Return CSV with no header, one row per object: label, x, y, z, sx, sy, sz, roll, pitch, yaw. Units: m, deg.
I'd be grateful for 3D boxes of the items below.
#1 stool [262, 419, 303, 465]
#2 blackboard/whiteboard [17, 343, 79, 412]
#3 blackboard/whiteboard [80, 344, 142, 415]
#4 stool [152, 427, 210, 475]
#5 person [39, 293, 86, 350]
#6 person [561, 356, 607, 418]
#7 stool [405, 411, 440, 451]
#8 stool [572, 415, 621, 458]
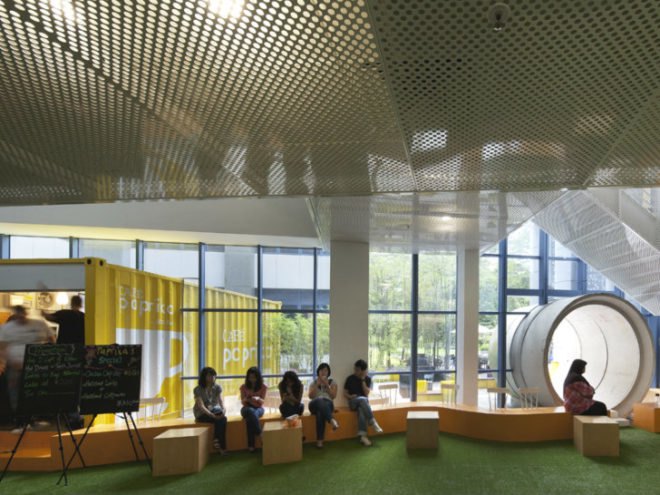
stool,-0.630,2.566,7.546,0.489,0.382,0.481,1,-2,-14
blackboard/whiteboard,-3.454,1.635,7.019,0.776,1.058,0.080,2,-17,-11
blackboard/whiteboard,-2.825,1.699,7.253,0.878,1.064,0.051,0,-13,-11
stool,-1.902,2.699,7.424,0.842,0.394,0.863,-17,-21,39
person,-3.614,0.985,7.631,0.541,1.178,0.381,-3,-10,-4
person,3.897,2.148,8.697,0.584,0.815,0.440,-2,-8,23
stool,1.342,2.662,8.246,0.425,0.415,0.439,-1,-5,2
stool,3.746,2.642,7.999,0.503,0.402,0.512,-1,-3,9
